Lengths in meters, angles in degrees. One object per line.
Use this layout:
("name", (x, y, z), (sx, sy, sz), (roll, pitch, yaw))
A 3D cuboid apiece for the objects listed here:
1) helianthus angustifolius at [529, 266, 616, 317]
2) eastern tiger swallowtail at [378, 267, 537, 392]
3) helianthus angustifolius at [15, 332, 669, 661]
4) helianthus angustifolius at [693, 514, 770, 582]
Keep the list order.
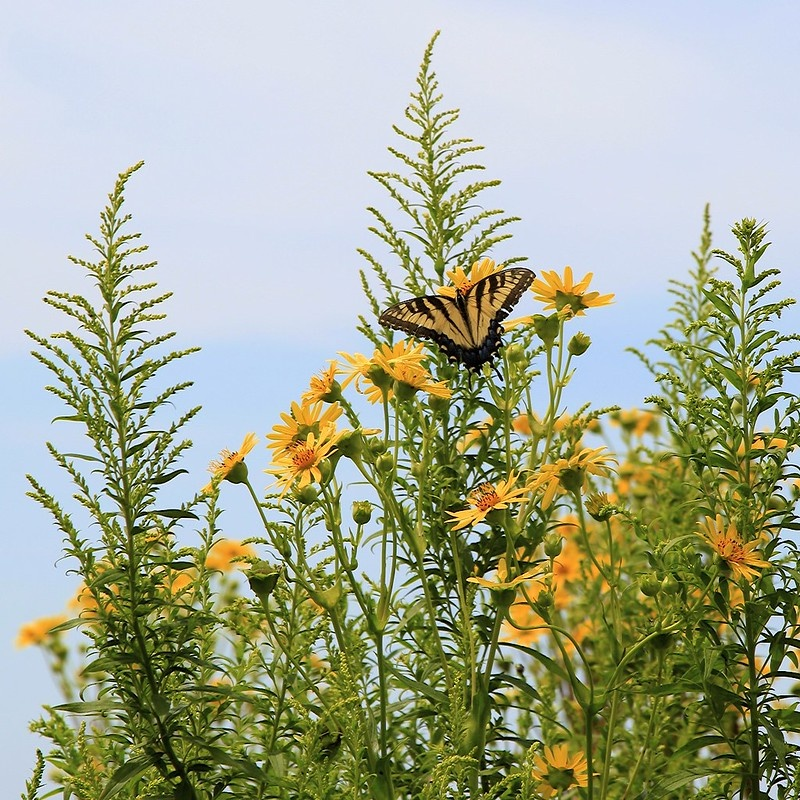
("helianthus angustifolius", (0.305, -0.192, 4.273), (0.138, 0.068, 0.135), (5, -16, 44))
("eastern tiger swallowtail", (0.137, -0.129, 4.362), (0.293, 0.215, 0.071), (-15, -16, -14))
("helianthus angustifolius", (-0.030, 0.235, 4.189), (0.798, 1.025, 0.723), (-7, -7, 25))
("helianthus angustifolius", (0.585, 0.249, 4.121), (0.109, 0.112, 0.040), (-36, -17, -16))
